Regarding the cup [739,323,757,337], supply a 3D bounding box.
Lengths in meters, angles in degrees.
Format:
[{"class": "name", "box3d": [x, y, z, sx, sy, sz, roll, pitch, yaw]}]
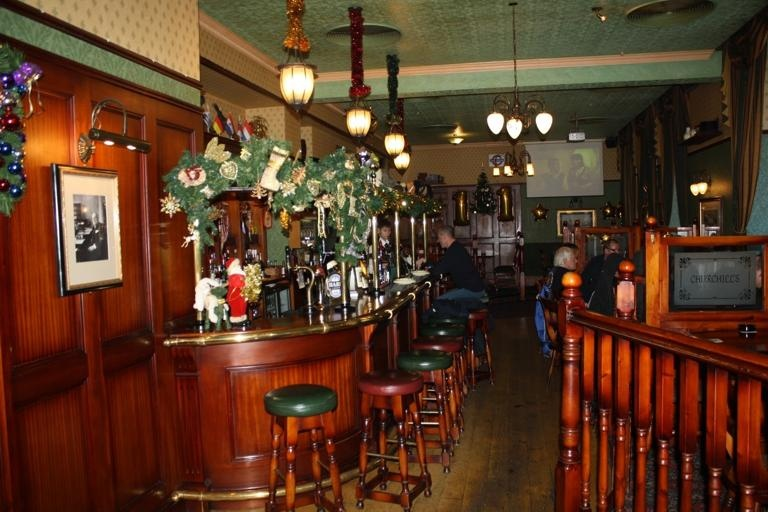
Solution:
[{"class": "cup", "box3d": [3.247, 0.660, 5.325, 0.116, 0.070, 0.116, 0, -1, 0]}]

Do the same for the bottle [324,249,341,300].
[{"class": "bottle", "box3d": [-0.505, 0.243, 5.911, 0.130, 0.393, 0.250, -3, 1, -40]}]

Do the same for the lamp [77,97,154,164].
[{"class": "lamp", "box3d": [-2.020, -0.929, 4.534, 0.261, 0.409, 0.539, -1, 1, 20]}]

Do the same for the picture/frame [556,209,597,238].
[{"class": "picture/frame", "box3d": [4.472, -0.803, 13.791, 1.076, 0.760, 0.080, -1, 6, 4]}]

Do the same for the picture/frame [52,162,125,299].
[{"class": "picture/frame", "box3d": [-2.165, -0.181, 4.379, 0.101, 0.804, 0.528, -1, 1, 19]}]
